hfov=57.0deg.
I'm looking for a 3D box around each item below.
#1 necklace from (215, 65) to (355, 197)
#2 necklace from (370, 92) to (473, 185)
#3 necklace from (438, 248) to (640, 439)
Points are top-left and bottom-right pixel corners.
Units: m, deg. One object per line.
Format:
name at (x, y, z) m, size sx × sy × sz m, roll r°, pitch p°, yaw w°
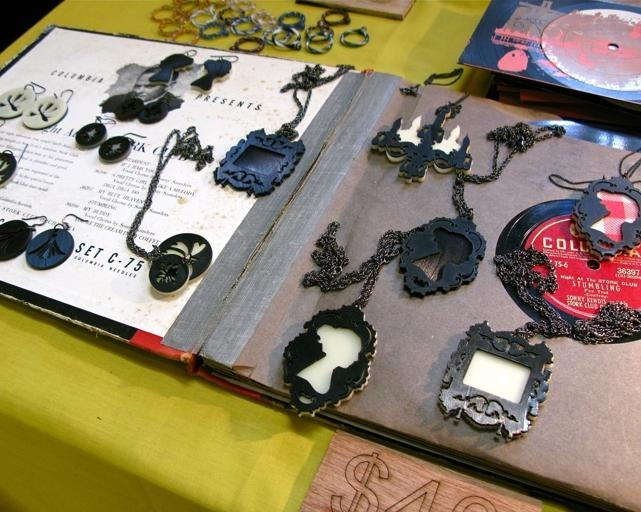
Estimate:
necklace at (-0.127, -0.461, 2.212) m, size 0.282 × 0.078 × 0.658 m, roll 27°, pitch 57°, yaw 20°
necklace at (0.401, -0.434, 2.133) m, size 0.357 × 0.030 × 0.455 m, roll 19°, pitch 56°, yaw 14°
necklace at (0.568, 0.231, 1.721) m, size 0.637 × 0.057 × 0.431 m, roll -36°, pitch 69°, yaw -16°
